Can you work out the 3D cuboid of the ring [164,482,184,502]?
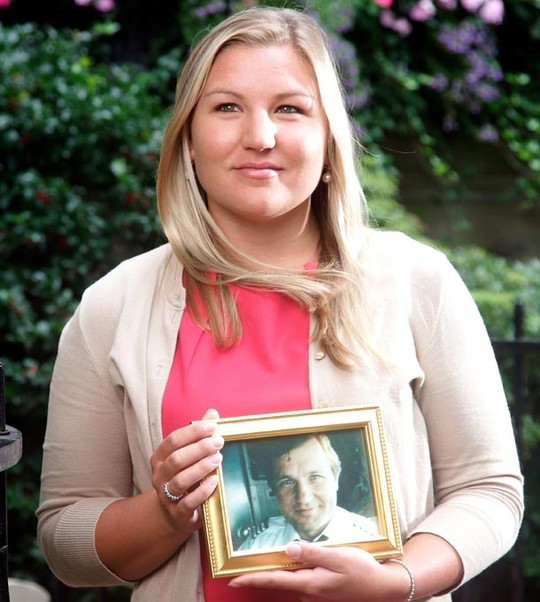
[{"bbox_3d":[-0.194,0.394,1.553,0.040,0.044,0.020,15,53,31],"label":"ring"}]

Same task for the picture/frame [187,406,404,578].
[{"bbox_3d":[0.062,0.383,1.524,0.470,0.310,0.034,3,-16,-34],"label":"picture/frame"}]
